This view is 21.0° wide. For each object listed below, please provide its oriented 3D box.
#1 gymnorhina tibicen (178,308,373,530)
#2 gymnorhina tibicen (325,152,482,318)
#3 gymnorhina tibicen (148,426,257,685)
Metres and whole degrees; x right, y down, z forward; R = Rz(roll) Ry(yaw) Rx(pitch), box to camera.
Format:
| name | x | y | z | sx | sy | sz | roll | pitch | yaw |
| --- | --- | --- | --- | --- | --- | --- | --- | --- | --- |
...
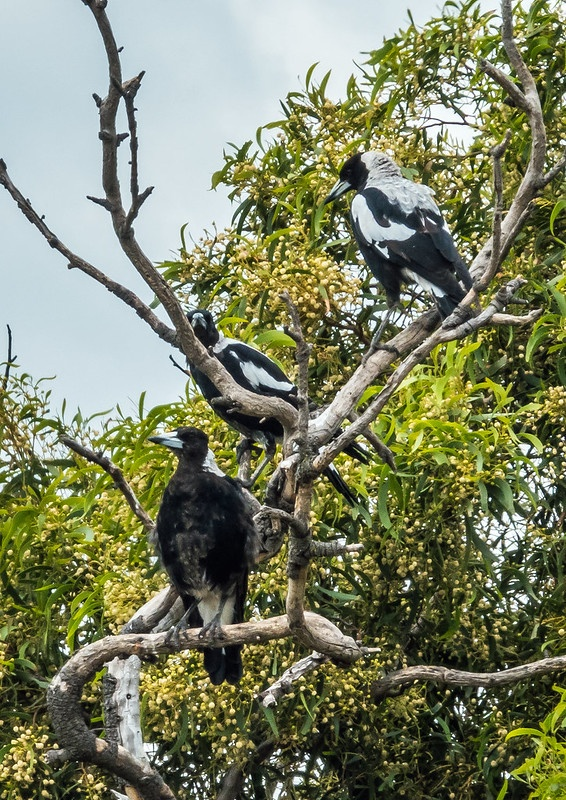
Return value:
| name | x | y | z | sx | sy | sz | roll | pitch | yaw |
| --- | --- | --- | --- | --- | --- | --- | --- | --- | --- |
| gymnorhina tibicen | -0.063 | 0.013 | 6.903 | 0.880 | 0.781 | 0.359 | 4 | -6 | -2 |
| gymnorhina tibicen | 0.548 | -0.742 | 6.787 | 0.802 | 0.788 | 0.372 | -1 | 0 | 45 |
| gymnorhina tibicen | -0.348 | 0.507 | 6.198 | 0.386 | 0.727 | 0.494 | -11 | -30 | -16 |
